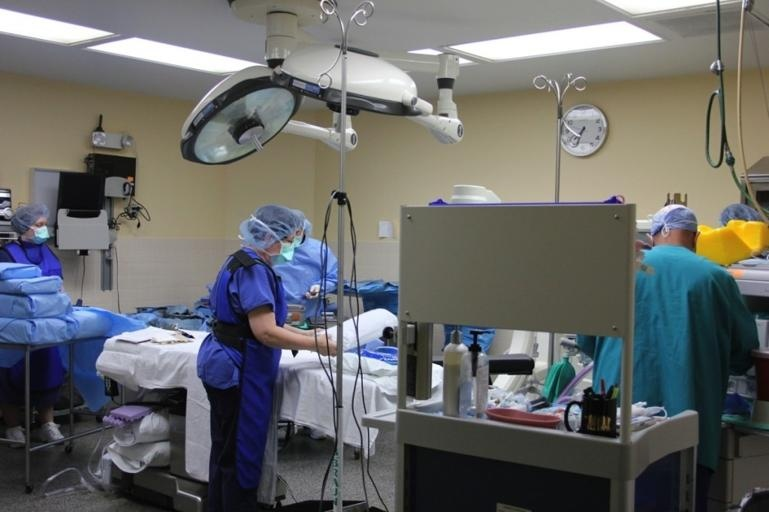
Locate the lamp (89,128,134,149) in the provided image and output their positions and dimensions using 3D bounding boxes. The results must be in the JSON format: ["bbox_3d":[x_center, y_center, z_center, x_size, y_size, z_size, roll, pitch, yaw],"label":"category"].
[{"bbox_3d":[-2.732,-1.160,7.125,0.415,0.181,0.211,1,2,-28],"label":"lamp"}]

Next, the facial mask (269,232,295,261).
[{"bbox_3d":[-0.607,-0.047,4.300,0.141,0.119,0.142,27,15,5],"label":"facial mask"}]

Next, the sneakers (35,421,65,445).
[{"bbox_3d":[-2.608,1.377,5.512,0.385,0.170,0.152,-5,-4,40],"label":"sneakers"}]

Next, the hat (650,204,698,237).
[{"bbox_3d":[1.583,-0.182,3.887,0.180,0.121,0.183,0,-5,-15],"label":"hat"}]

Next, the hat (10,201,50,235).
[{"bbox_3d":[-2.926,-0.327,5.842,0.269,0.276,0.221,12,14,23],"label":"hat"}]

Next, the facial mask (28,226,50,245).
[{"bbox_3d":[-2.864,-0.180,5.900,0.137,0.115,0.123,0,0,14],"label":"facial mask"}]

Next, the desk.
[{"bbox_3d":[-2.428,0.964,5.304,1.126,1.106,0.889,-2,-5,36],"label":"desk"}]

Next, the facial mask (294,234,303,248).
[{"bbox_3d":[-0.520,-0.094,4.331,0.050,0.069,0.056,14,-13,44],"label":"facial mask"}]

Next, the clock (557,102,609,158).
[{"bbox_3d":[1.879,-1.173,6.722,0.421,0.449,0.434,-4,3,8],"label":"clock"}]
